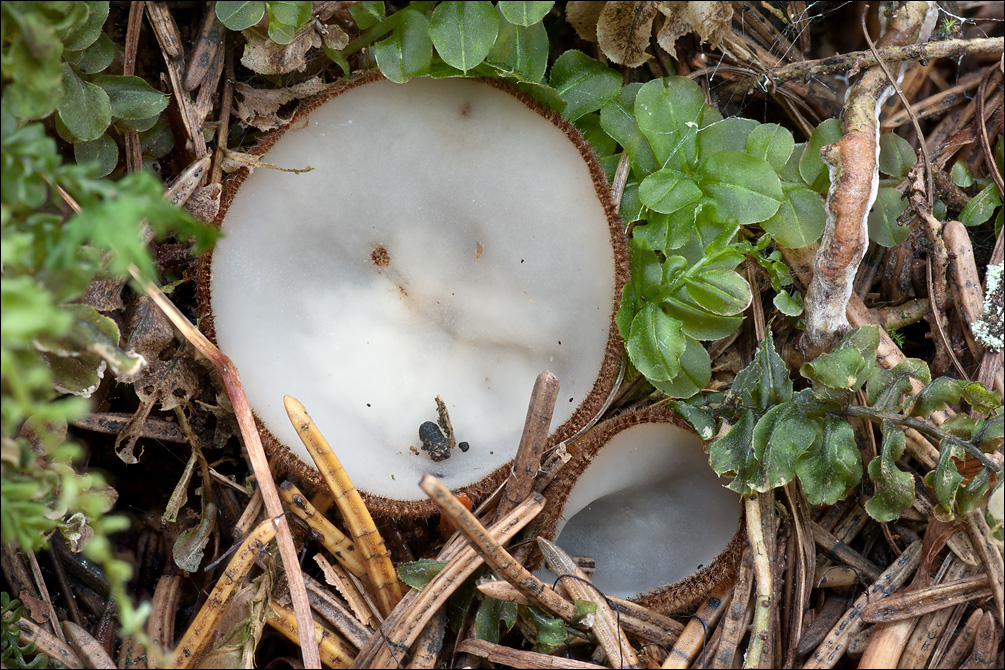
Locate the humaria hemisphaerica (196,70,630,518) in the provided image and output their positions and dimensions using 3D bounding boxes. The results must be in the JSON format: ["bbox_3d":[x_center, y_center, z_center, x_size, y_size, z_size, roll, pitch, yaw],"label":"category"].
[{"bbox_3d":[-0.190,-0.110,2.240,0.867,0.715,0.504,-8,39,-17],"label":"humaria hemisphaerica"}]
